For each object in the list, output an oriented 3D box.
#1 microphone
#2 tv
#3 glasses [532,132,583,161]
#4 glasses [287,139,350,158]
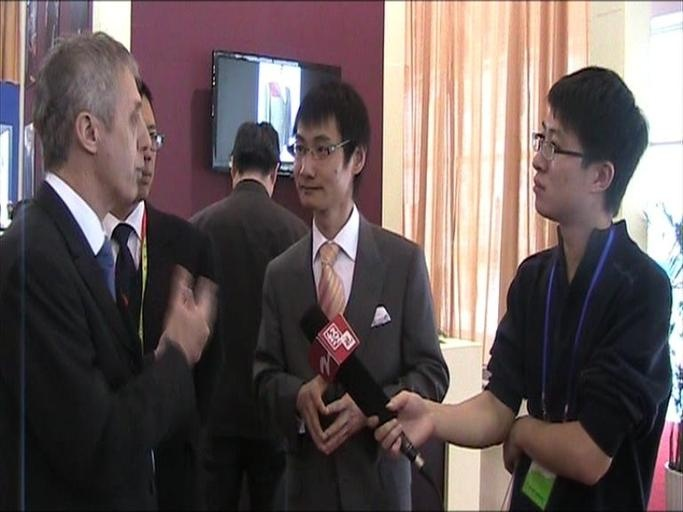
[{"bbox_3d":[0.048,0.324,1.473,0.077,0.491,0.053,-34,3,29],"label":"microphone"},{"bbox_3d":[-0.163,-0.387,1.686,0.321,0.323,0.037,1,-4,-13],"label":"tv"},{"bbox_3d":[0.490,-0.238,1.457,0.069,0.025,0.073,8,16,-18],"label":"glasses"},{"bbox_3d":[-0.050,-0.261,1.549,0.143,0.047,0.038,4,8,16],"label":"glasses"}]
